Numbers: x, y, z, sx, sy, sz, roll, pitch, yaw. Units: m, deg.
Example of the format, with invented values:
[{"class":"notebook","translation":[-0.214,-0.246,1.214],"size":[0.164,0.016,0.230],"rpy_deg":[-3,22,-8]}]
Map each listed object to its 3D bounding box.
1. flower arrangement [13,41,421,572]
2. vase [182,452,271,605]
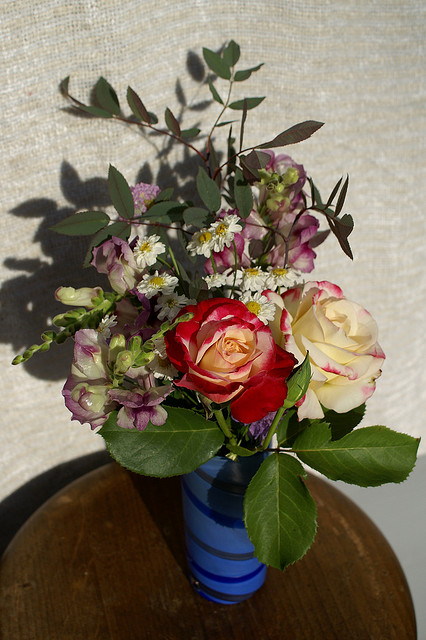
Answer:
[{"class":"flower arrangement","translation":[-0.052,-0.069,0.688],"size":[0.501,0.243,0.583],"rpy_deg":[-11,82,-16]},{"class":"vase","translation":[0.031,0.234,0.623],"size":[0.097,0.087,0.127],"rpy_deg":[6,86,-5]}]
